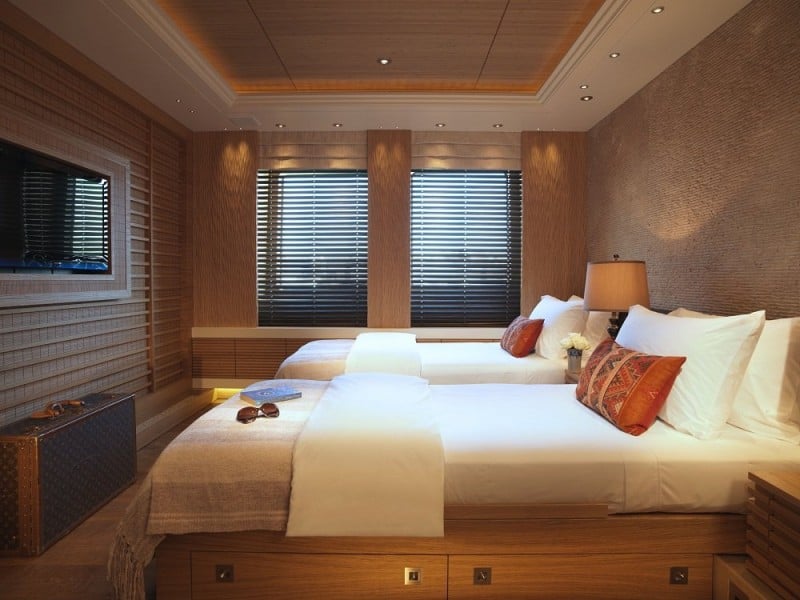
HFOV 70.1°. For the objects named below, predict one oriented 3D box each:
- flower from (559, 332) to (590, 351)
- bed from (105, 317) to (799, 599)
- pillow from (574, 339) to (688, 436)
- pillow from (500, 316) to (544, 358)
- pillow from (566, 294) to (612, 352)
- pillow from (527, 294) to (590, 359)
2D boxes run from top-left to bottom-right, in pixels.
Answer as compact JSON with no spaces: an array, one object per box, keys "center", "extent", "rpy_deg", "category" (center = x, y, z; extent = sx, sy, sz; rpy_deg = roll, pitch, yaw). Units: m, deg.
[{"center":[1.303,0.312,4.280],"extent":[0.186,0.091,0.168],"rpy_deg":[-2,-7,19],"category":"flower"},{"center":[0.135,0.869,3.075],"extent":[2.535,0.452,2.219],"rpy_deg":[0,0,4],"category":"bed"},{"center":[1.330,0.453,3.328],"extent":[0.194,0.544,0.705],"rpy_deg":[35,-11,-20],"category":"pillow"},{"center":[1.062,0.286,4.935],"extent":[0.281,0.613,0.291],"rpy_deg":[-3,-83,2],"category":"pillow"},{"center":[1.444,0.174,4.456],"extent":[0.135,0.433,0.366],"rpy_deg":[17,-80,-44],"category":"pillow"},{"center":[1.287,0.229,4.615],"extent":[0.278,0.213,0.553],"rpy_deg":[-18,1,-1],"category":"pillow"}]
